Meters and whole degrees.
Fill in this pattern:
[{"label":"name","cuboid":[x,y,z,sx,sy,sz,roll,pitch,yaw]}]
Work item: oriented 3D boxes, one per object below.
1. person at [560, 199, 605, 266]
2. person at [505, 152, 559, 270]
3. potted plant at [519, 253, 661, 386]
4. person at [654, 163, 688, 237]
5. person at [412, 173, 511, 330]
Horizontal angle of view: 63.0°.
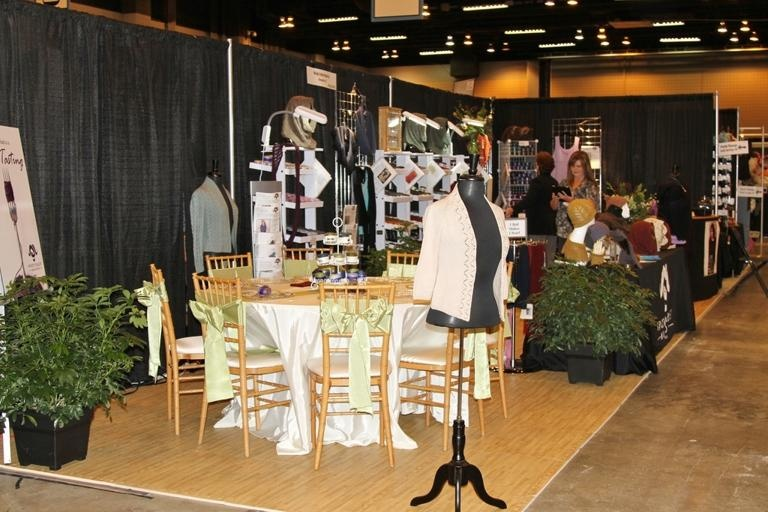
[{"label":"person","cuboid":[2.055,-0.231,6.478,0.383,0.740,0.585,-11,21,-1]},{"label":"person","cuboid":[2.154,-0.515,8.716,0.512,1.720,0.496,-3,13,-11]},{"label":"potted plant","cuboid":[1.980,0.576,6.485,1.380,1.399,1.116,0,1,5]},{"label":"person","cuboid":[4.387,-0.711,9.496,0.464,0.891,0.332,2,7,29]},{"label":"person","cuboid":[0.465,-0.038,3.787,0.572,0.904,0.311,-1,6,3]}]
